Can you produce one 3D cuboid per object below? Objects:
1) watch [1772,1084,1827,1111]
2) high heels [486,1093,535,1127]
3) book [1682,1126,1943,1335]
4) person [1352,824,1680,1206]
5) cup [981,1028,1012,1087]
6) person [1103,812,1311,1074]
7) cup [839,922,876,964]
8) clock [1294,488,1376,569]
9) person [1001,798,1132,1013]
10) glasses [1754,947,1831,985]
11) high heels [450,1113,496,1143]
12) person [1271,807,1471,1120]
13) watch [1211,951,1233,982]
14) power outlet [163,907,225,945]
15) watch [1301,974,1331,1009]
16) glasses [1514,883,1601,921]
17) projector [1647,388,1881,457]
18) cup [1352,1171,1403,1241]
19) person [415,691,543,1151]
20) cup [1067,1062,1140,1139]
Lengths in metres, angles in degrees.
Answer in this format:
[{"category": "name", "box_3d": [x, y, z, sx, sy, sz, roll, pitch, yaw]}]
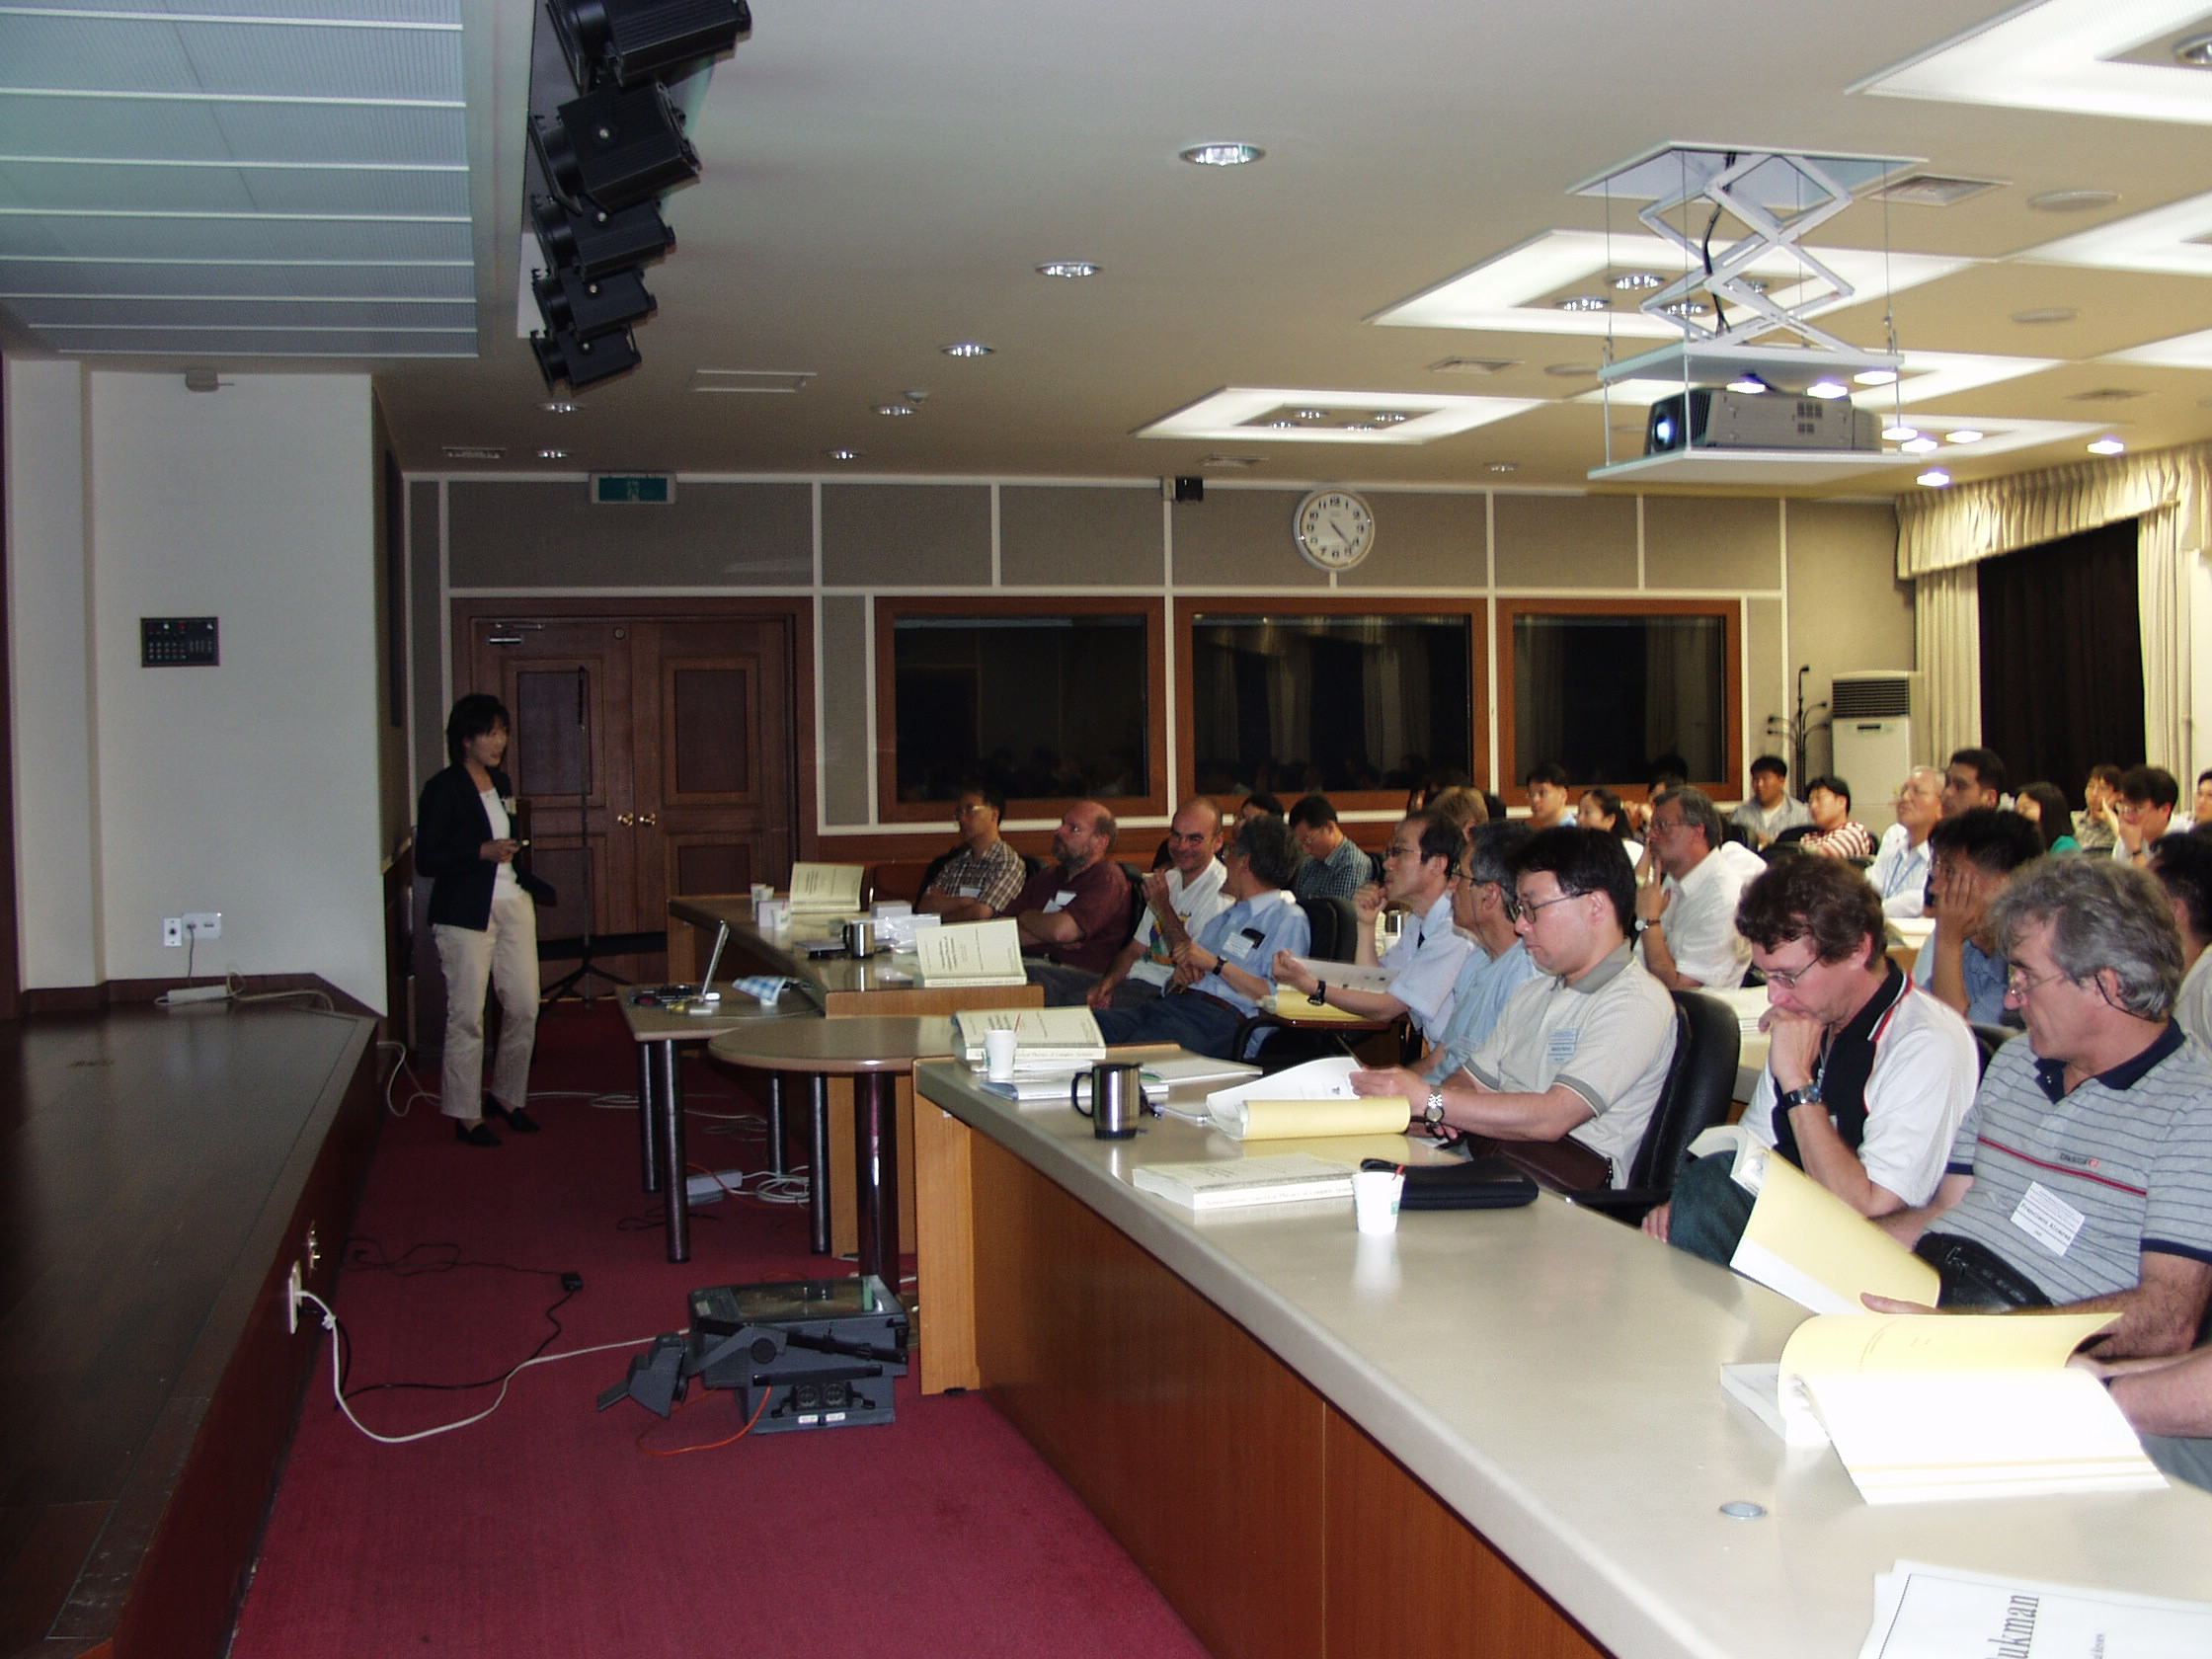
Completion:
[{"category": "watch", "box_3d": [1.277, 0.489, 3.117, 0.060, 0.039, 0.057, 1, -6, -43]}, {"category": "high heels", "box_3d": [-2.712, 1.269, 7.603, 0.279, 0.117, 0.103, 15, 7, 38]}, {"category": "book", "box_3d": [1.014, 0.567, 2.356, 0.291, 0.071, 0.271, 39, 31, -4]}, {"category": "person", "box_3d": [1.060, 0.386, 4.192, 0.782, 1.080, 0.733, 1, 2, -5]}, {"category": "cup", "box_3d": [-0.252, 0.532, 3.979, 0.101, 0.131, 0.102, 1, -13, 0]}, {"category": "person", "box_3d": [0.366, 0.418, 6.061, 0.538, 0.886, 0.390, 28, -33, -24]}, {"category": "cup", "box_3d": [-1.011, 0.430, 6.640, 0.174, 0.175, 0.101, -2, 2, -18]}, {"category": "clock", "box_3d": [1.529, -2.018, 11.179, 0.490, 0.521, 0.105, 7, 6, -7]}, {"category": "person", "box_3d": [-0.217, 0.423, 7.451, 0.600, 1.076, 0.518, -5, 17, -29]}, {"category": "glasses", "box_3d": [1.319, 0.258, 3.225, 0.027, 0.086, 0.080, 3, 3, -43]}, {"category": "high heels", "box_3d": [-2.770, 1.294, 7.327, 0.105, 0.116, 0.286, 2, -4, -37]}, {"category": "person", "box_3d": [0.895, 0.378, 5.298, 0.617, 0.860, 0.573, 7, 8, 18]}, {"category": "watch", "box_3d": [0.385, 0.463, 5.671, 0.054, 0.083, 0.085, 2, 17, -13]}, {"category": "power outlet", "box_3d": [-4.178, 0.444, 7.646, 0.216, 0.153, 0.050, 3, 6, -33]}, {"category": "watch", "box_3d": [0.634, 0.488, 5.147, 0.066, 0.104, 0.093, -10, 34, 8]}, {"category": "glasses", "box_3d": [1.004, 0.155, 3.751, 0.161, 0.079, 0.036, -3, 4, 16]}, {"category": "projector", "box_3d": [2.311, -1.441, 5.956, 0.486, 0.152, 0.365, -1, 2, -6]}, {"category": "cup", "box_3d": [0.443, 0.608, 2.741, 0.092, 0.095, 0.094, 0, 3, 0]}, {"category": "person", "box_3d": [-2.825, 0.364, 7.554, 0.483, 1.934, 0.937, -5, 4, -21]}, {"category": "cup", "box_3d": [-0.023, 0.562, 3.530, 0.167, 0.159, 0.106, -1, 0, -10]}]
